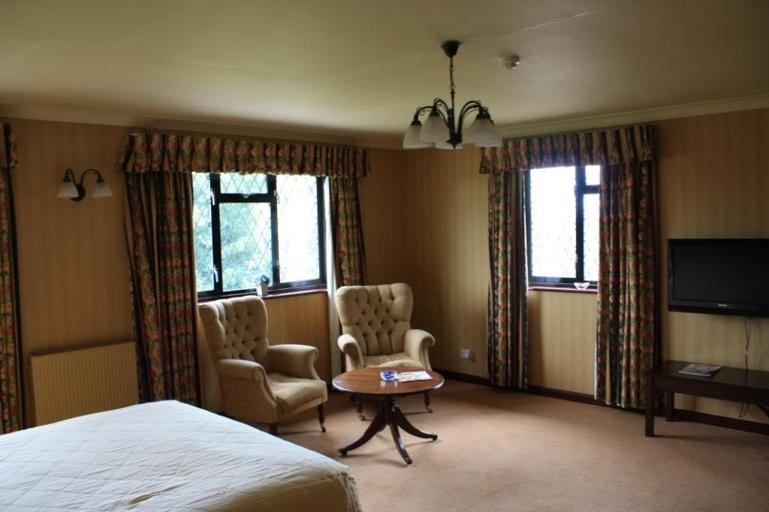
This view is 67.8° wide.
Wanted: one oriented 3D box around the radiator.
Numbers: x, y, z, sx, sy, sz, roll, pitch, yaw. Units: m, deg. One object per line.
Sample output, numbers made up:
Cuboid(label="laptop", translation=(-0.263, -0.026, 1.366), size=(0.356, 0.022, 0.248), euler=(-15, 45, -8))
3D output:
Cuboid(label="radiator", translation=(-2.797, 1.219, 5.483), size=(0.910, 0.924, 0.092), euler=(-8, 41, -28))

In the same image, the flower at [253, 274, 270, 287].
Cuboid(label="flower", translation=(-1.425, 0.279, 6.706), size=(0.139, 0.104, 0.201), euler=(3, 12, 21))

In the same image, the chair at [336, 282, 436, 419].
Cuboid(label="chair", translation=(0.002, 1.051, 6.656), size=(1.063, 1.404, 1.044), euler=(-2, 3, -3))

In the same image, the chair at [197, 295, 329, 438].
Cuboid(label="chair", translation=(-1.197, 1.130, 6.332), size=(1.382, 1.644, 1.343), euler=(-2, 1, 31))

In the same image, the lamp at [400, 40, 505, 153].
Cuboid(label="lamp", translation=(0.569, -1.294, 4.604), size=(0.733, 0.818, 0.812), euler=(0, 4, -9))

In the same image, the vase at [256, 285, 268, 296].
Cuboid(label="vase", translation=(-1.435, 0.404, 6.652), size=(0.130, 0.135, 0.106), euler=(-2, 11, -4))

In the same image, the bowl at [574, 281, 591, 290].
Cuboid(label="bowl", translation=(2.272, 0.350, 6.587), size=(0.174, 0.077, 0.163), euler=(-1, 11, 0))

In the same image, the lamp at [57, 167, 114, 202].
Cuboid(label="lamp", translation=(-2.852, -0.677, 5.423), size=(0.246, 0.319, 0.485), euler=(1, 4, 39))
